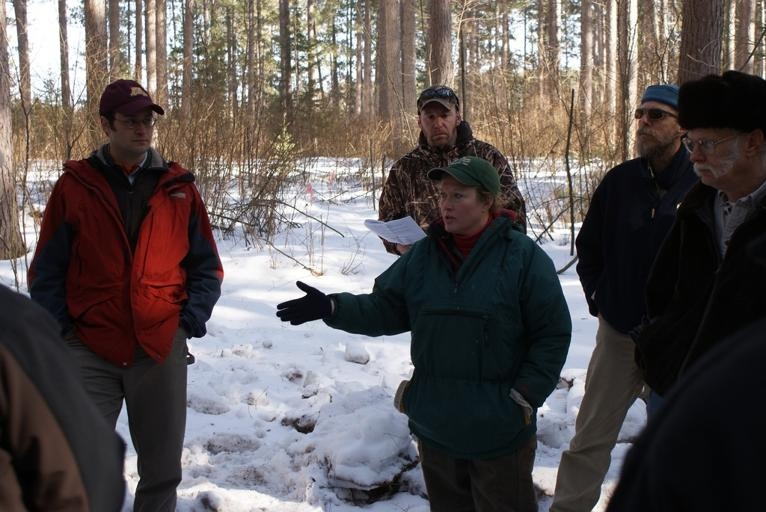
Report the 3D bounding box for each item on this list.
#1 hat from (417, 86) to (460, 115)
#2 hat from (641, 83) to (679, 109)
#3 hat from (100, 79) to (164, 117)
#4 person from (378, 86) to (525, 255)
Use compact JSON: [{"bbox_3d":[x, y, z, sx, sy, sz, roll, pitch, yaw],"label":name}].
[{"bbox_3d":[0.427,-1.206,5.617,0.307,0.207,0.308,-1,5,-7],"label":"hat"},{"bbox_3d":[1.873,-1.084,5.002,0.218,0.152,0.229,15,-1,-21],"label":"hat"},{"bbox_3d":[-1.686,-1.041,4.897,0.422,0.275,0.320,-3,5,38],"label":"hat"},{"bbox_3d":[0.483,-0.360,5.793,1.113,1.858,0.833,0,3,13],"label":"person"}]
